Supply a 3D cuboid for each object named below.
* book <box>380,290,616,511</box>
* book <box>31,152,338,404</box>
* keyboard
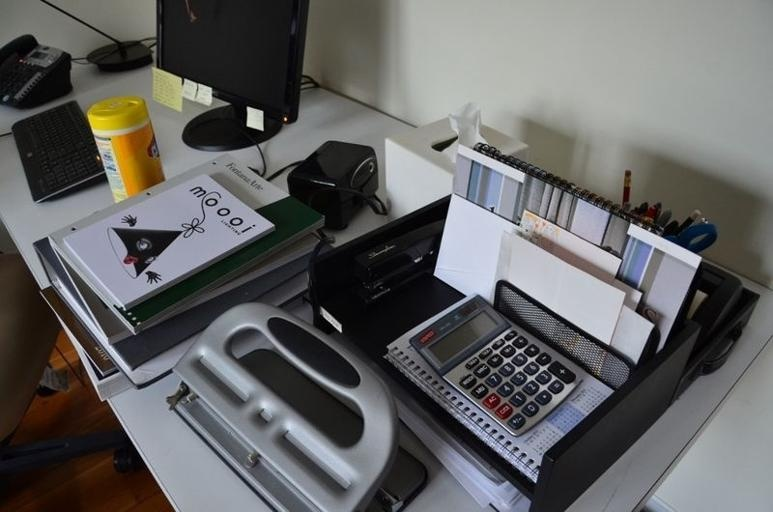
[{"bbox_3d":[0.200,0.221,0.992,0.269,0.100,0.336,-31,50,-27],"label":"book"},{"bbox_3d":[-0.427,-0.004,1.195,0.530,0.175,0.412,-29,49,-26],"label":"book"},{"bbox_3d":[-0.928,-0.284,1.506,0.193,0.060,0.372,-23,55,-19],"label":"keyboard"}]
